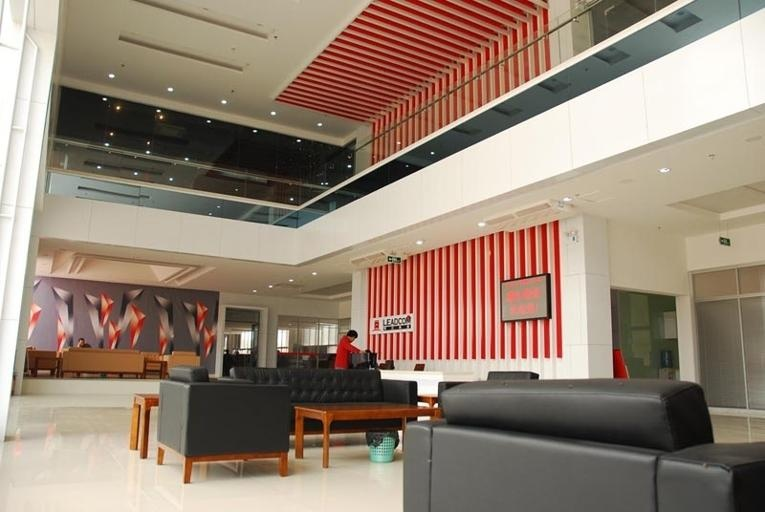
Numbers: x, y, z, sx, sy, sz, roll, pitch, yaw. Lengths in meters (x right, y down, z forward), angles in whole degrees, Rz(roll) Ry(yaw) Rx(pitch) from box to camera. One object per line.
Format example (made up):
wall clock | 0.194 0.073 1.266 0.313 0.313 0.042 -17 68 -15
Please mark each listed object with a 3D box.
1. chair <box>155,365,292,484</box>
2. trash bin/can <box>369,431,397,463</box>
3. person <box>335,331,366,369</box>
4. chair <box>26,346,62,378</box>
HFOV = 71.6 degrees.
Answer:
chair | -1.744 1.530 5.750 1.088 1.153 1.459 3 -10 -27
trash bin/can | -0.008 2.173 6.072 0.332 0.238 0.302 5 -12 -23
person | -0.659 1.897 9.911 0.397 1.025 0.607 4 5 -29
chair | -9.150 2.860 14.237 0.808 0.694 1.171 9 -16 -33
